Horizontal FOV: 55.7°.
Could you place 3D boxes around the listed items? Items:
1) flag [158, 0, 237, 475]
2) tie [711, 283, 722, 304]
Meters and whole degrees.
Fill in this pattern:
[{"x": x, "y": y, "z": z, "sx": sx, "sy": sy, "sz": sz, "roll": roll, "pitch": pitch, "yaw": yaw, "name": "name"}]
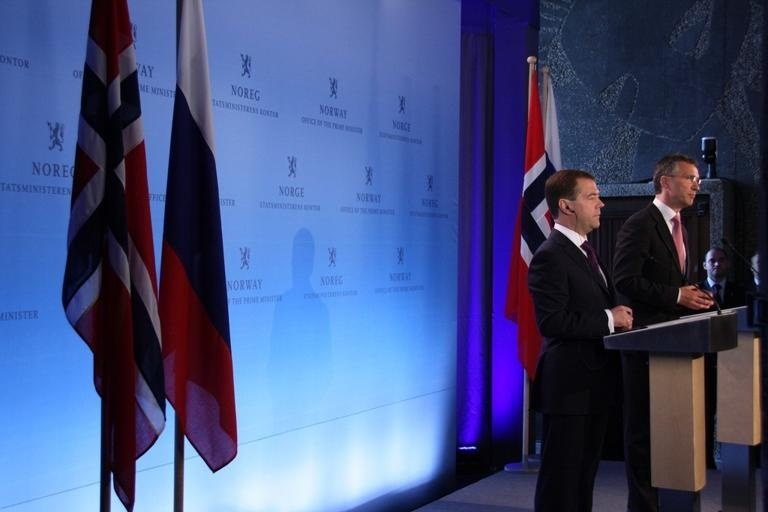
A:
[{"x": -0.916, "y": -0.093, "z": 3.474, "sx": 0.329, "sy": 2.226, "sz": 0.134, "roll": -3, "pitch": 1, "yaw": -20, "name": "flag"}, {"x": 2.244, "y": 0.246, "z": 4.919, "sx": 0.060, "sy": 0.128, "sz": 0.029, "roll": 3, "pitch": -10, "yaw": -13, "name": "tie"}]
